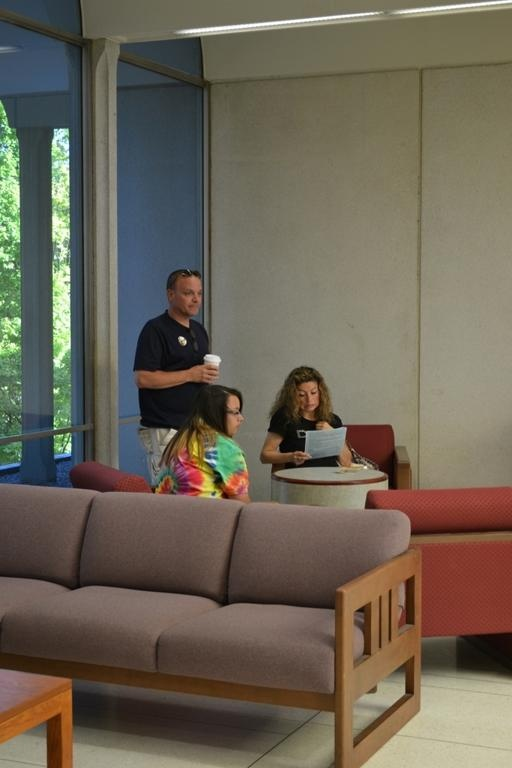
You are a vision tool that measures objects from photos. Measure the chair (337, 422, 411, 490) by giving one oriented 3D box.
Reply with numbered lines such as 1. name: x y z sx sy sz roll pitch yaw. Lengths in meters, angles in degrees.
1. chair: 0.837 0.473 4.990 0.418 0.592 0.445 -2 -6 4

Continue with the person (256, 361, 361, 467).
1. person: 0.272 0.199 4.529 0.508 0.630 0.711 -4 -6 22

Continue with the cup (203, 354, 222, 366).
1. cup: -0.234 -0.142 4.139 0.074 0.048 0.074 1 5 0
